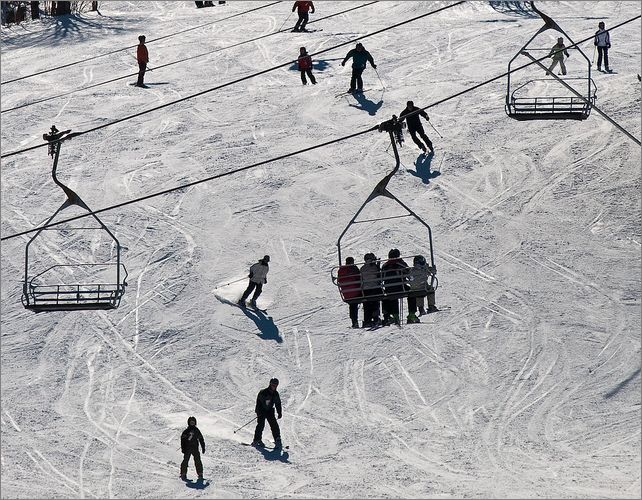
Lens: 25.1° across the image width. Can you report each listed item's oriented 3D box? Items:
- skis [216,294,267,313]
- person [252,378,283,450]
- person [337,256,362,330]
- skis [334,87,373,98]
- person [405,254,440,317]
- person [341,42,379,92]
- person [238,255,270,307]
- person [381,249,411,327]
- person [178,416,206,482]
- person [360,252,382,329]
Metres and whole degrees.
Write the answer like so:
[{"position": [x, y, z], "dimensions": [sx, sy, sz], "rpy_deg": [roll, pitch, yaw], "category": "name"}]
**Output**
[{"position": [-2.338, 1.585, 41.863], "dimensions": [1.382, 0.185, 0.232], "rpy_deg": [18, 93, 13], "category": "skis"}, {"position": [-1.379, 4.265, 37.078], "dimensions": [0.942, 1.702, 0.783], "rpy_deg": [0, 12, -14], "category": "person"}, {"position": [0.784, 1.103, 35.984], "dimensions": [0.714, 0.722, 1.771], "rpy_deg": [-4, 99, 14], "category": "person"}, {"position": [1.156, -5.559, 50.599], "dimensions": [1.829, 0.155, 0.219], "rpy_deg": [-6, 41, -1], "category": "skis"}, {"position": [2.605, 0.856, 35.502], "dimensions": [0.919, 0.658, 1.342], "rpy_deg": [-2, 92, 6], "category": "person"}, {"position": [1.230, -6.370, 49.506], "dimensions": [0.949, 3.197, 1.137], "rpy_deg": [-8, 56, 2], "category": "person"}, {"position": [-1.844, 0.883, 41.402], "dimensions": [0.788, 1.479, 0.711], "rpy_deg": [-2, 15, -25], "category": "person"}, {"position": [1.871, 0.954, 35.607], "dimensions": [0.815, 1.745, 0.612], "rpy_deg": [2, 12, -7], "category": "person"}, {"position": [-3.332, 5.111, 36.464], "dimensions": [0.737, 1.852, 1.173], "rpy_deg": [-4, 55, 4], "category": "person"}, {"position": [1.246, 1.022, 35.876], "dimensions": [0.729, 0.625, 1.822], "rpy_deg": [-2, 94, -8], "category": "person"}]
